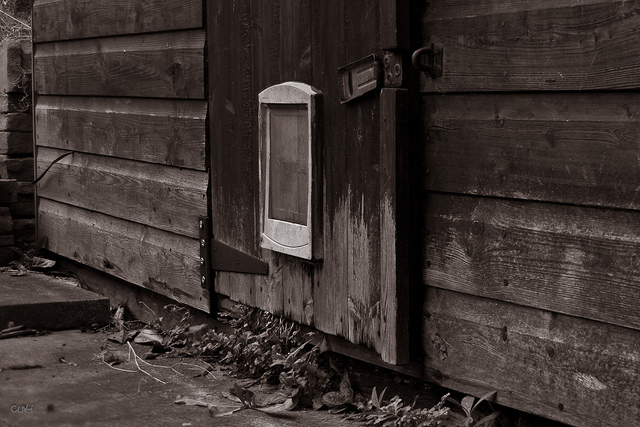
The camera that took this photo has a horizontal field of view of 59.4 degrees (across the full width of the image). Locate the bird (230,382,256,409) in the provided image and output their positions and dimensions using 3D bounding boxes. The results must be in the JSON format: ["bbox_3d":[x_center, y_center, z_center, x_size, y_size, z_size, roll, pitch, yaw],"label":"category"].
[{"bbox_3d":[-0.419,0.992,3.104,0.102,0.131,0.080,2,3,-2],"label":"bird"}]

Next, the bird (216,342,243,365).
[{"bbox_3d":[-0.592,0.913,3.655,0.037,0.091,0.216,-2,-30,-41],"label":"bird"}]
